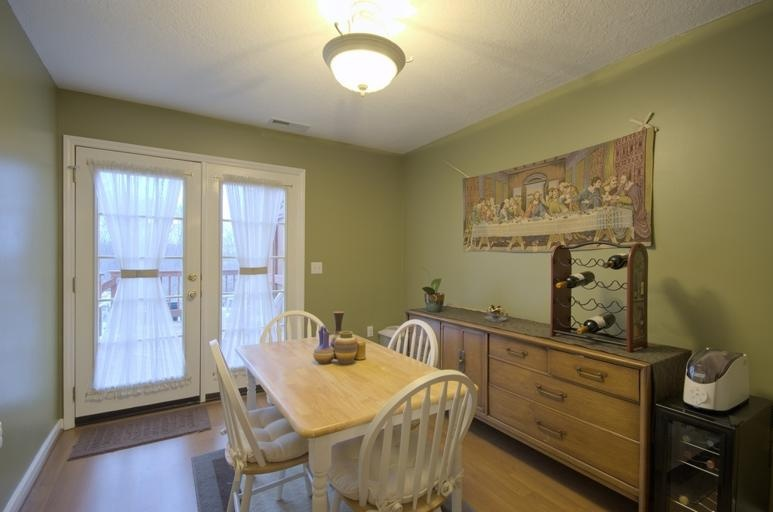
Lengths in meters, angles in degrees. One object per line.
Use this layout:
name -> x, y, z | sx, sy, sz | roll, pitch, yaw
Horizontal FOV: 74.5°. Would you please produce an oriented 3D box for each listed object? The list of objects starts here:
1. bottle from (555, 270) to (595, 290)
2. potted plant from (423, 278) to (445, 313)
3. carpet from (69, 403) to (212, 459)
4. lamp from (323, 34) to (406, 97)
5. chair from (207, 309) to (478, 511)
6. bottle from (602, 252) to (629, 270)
bottle -> 1.548, 0.204, 4.153 | 0.244, 0.150, 0.406 | 0, 1, 33
potted plant -> 0.466, 0.413, 5.183 | 0.231, 0.296, 0.326 | -3, -9, 20
carpet -> -2.175, 1.558, 4.548 | 1.096, 0.182, 0.520 | -1, 0, -23
lamp -> -0.158, -1.359, 3.597 | 0.558, 0.314, 0.331 | -1, 1, 7
chair -> -0.507, 1.074, 3.919 | 1.585, 1.288, 1.877 | -1, 1, -20
bottle -> 1.767, 0.044, 3.875 | 0.192, 0.111, 0.139 | 0, 1, 45
